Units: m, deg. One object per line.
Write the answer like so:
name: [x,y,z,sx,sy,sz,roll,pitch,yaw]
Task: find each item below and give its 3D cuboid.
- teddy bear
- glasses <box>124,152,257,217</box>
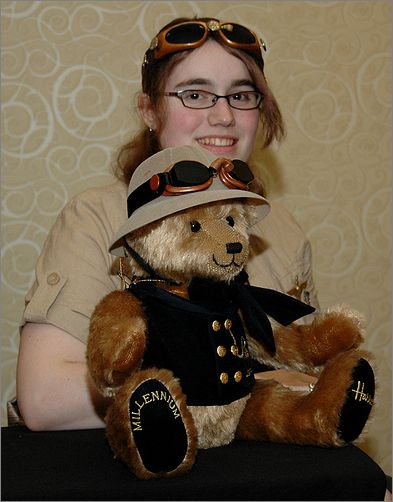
teddy bear: [0.035,0.078,0.780,0.451,0.302,0.358,4,89,-29]
glasses: [0.006,-0.090,0.789,0.144,0.136,0.034,-7,80,-16]
